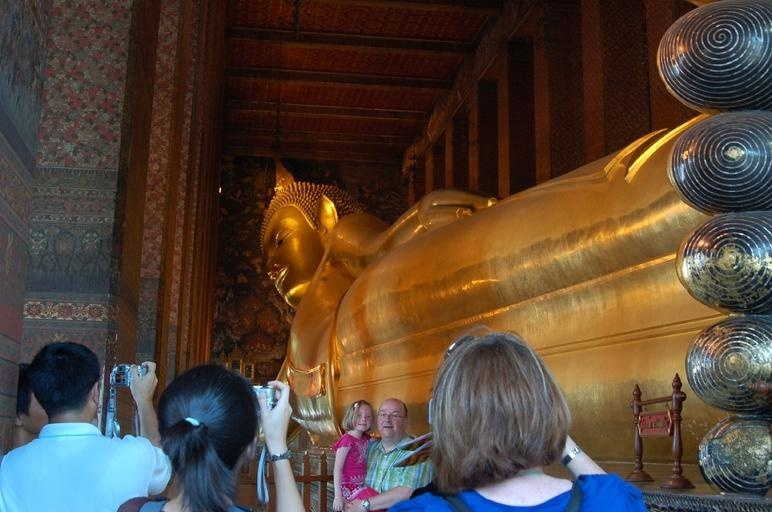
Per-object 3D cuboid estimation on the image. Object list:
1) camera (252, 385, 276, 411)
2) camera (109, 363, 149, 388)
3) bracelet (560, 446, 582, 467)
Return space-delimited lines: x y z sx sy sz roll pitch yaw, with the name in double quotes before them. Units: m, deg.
"camera" -0.246 0.277 1.312 0.050 0.052 0.031 7 -19 -12
"camera" -0.627 0.273 1.570 0.074 0.038 0.076 2 5 -9
"bracelet" 0.344 0.374 1.233 0.036 0.027 0.035 -46 12 13
